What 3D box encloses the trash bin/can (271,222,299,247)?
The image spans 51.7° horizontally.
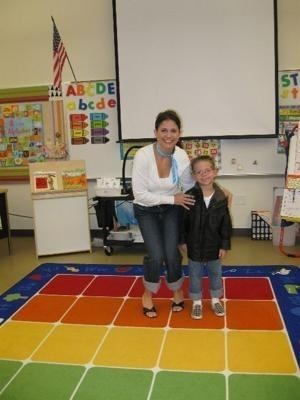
[{"bbox_3d":[1.440,0.369,3.312,0.277,0.265,0.223,1,0,19],"label":"trash bin/can"}]

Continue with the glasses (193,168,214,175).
[{"bbox_3d":[0.290,-0.152,1.691,0.108,0.032,0.051,-1,5,17],"label":"glasses"}]

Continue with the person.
[{"bbox_3d":[0.084,0.097,1.826,0.363,1.189,0.318,-2,5,6],"label":"person"}]

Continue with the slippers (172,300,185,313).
[{"bbox_3d":[0.173,0.656,1.905,0.058,0.035,0.148,-1,-4,5],"label":"slippers"}]

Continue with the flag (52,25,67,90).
[{"bbox_3d":[-0.995,-1.552,3.360,0.154,0.702,0.211,-4,5,-15],"label":"flag"}]
